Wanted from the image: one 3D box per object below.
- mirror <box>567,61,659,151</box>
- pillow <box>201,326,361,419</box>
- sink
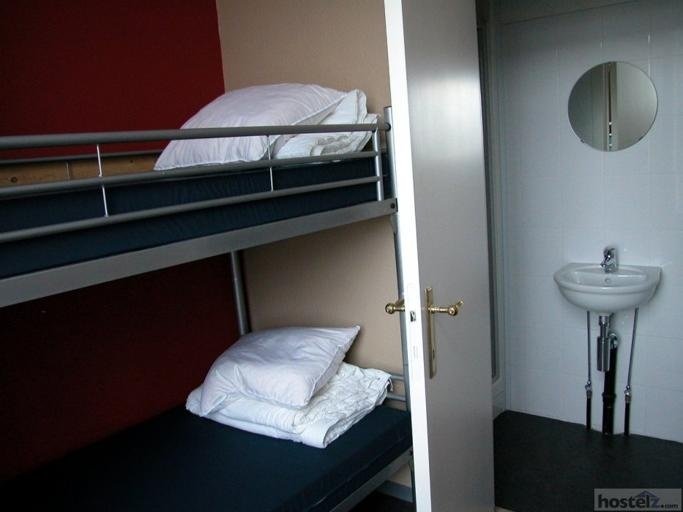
[{"bbox_3d":[1.553,-0.871,3.030,0.450,0.571,0.006,2,-17,23],"label":"mirror"},{"bbox_3d":[-0.347,0.535,2.545,0.510,0.151,0.500,-11,17,30],"label":"pillow"},{"bbox_3d":[1.538,0.251,3.081,0.532,0.312,0.491,4,13,38],"label":"sink"}]
